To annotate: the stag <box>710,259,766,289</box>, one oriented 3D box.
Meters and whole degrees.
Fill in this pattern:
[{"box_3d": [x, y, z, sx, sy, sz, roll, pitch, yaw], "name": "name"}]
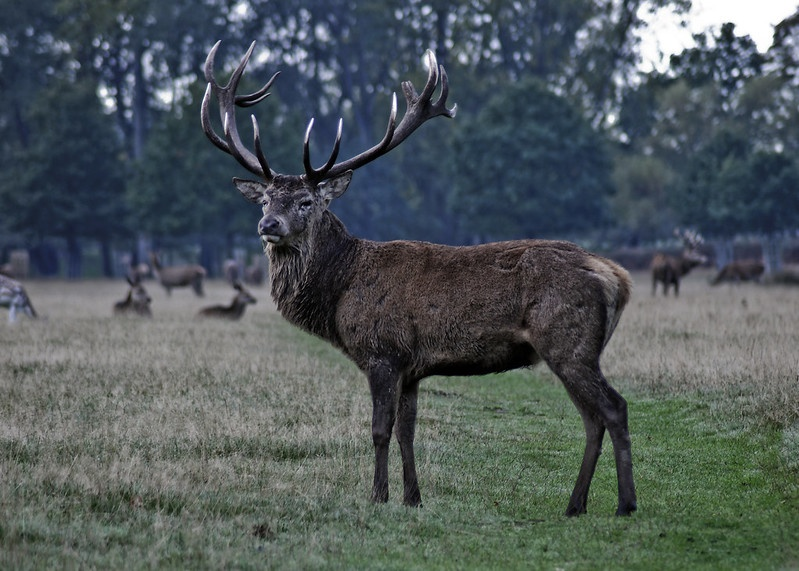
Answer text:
[{"box_3d": [4.914, -0.172, 21.194, 0.255, 0.402, 0.758, -1, 4, -42], "name": "stag"}]
